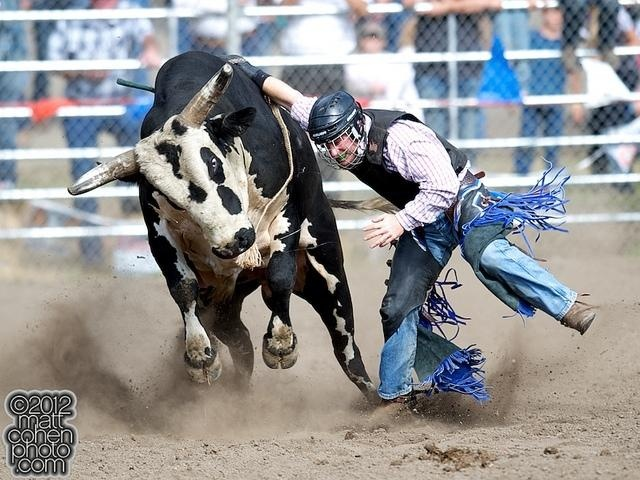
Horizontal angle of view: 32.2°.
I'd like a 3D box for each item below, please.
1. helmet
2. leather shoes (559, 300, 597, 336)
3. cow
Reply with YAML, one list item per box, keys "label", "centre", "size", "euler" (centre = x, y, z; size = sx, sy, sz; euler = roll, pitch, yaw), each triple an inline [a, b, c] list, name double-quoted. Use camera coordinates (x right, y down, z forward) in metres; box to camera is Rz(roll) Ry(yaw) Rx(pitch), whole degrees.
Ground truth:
- label: "helmet"
  centre: [0.091, -0.900, 8.128]
  size: [0.307, 0.328, 0.401]
  euler: [-23, 12, 44]
- label: "leather shoes"
  centre: [1.842, 0.560, 7.912]
  size: [0.131, 0.174, 0.282]
  euler: [28, 5, 1]
- label: "cow"
  centre: [-0.937, 0.459, 9.318]
  size: [1.452, 3.905, 2.620]
  euler: [-18, 60, 7]
